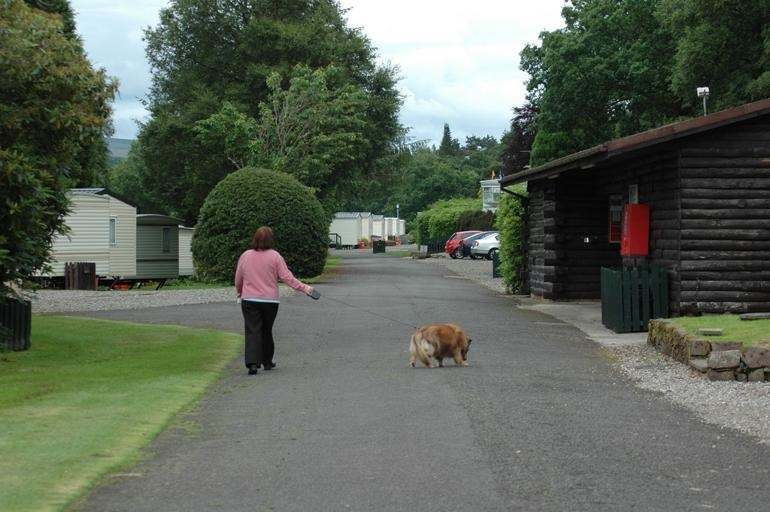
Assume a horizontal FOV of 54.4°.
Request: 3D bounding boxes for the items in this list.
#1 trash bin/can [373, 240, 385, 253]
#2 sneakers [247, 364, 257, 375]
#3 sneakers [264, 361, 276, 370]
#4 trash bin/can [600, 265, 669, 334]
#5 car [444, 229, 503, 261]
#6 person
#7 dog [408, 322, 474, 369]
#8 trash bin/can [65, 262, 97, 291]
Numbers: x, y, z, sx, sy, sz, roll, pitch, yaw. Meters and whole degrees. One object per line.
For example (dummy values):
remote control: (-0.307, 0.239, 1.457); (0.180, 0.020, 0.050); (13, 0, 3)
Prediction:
trash bin/can: (-0.543, -0.914, 68.485); (1.119, 1.131, 1.139); (-1, -4, -2)
sneakers: (-2.059, 1.756, 11.576); (0.145, 0.131, 0.117); (1, -3, -9)
sneakers: (-1.827, 1.740, 11.924); (0.075, 0.099, 0.227); (2, 3, 30)
trash bin/can: (5.326, 0.907, 16.288); (1.293, 1.305, 1.314); (1, -2, -7)
car: (5.251, -0.782, 49.259); (1.591, 1.733, 3.661); (0, 0, -29)
person: (-1.923, 0.685, 11.730); (0.803, 2.265, 0.351); (0, 0, -12)
dog: (0.903, 1.437, 12.134); (1.210, 0.696, 0.497); (5, -5, -41)
trash bin/can: (-10.213, 0.603, 25.401); (1.155, 1.200, 0.853); (0, 0, -16)
